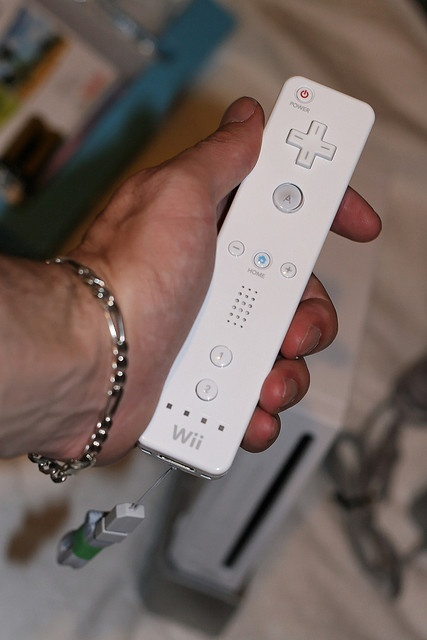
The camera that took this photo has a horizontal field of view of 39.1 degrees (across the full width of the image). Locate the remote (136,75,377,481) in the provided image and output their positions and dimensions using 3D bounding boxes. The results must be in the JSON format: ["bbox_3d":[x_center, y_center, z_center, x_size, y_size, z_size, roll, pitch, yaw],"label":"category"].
[{"bbox_3d":[0.046,-0.054,0.469,0.104,0.061,0.341,25,83,-4],"label":"remote"}]
